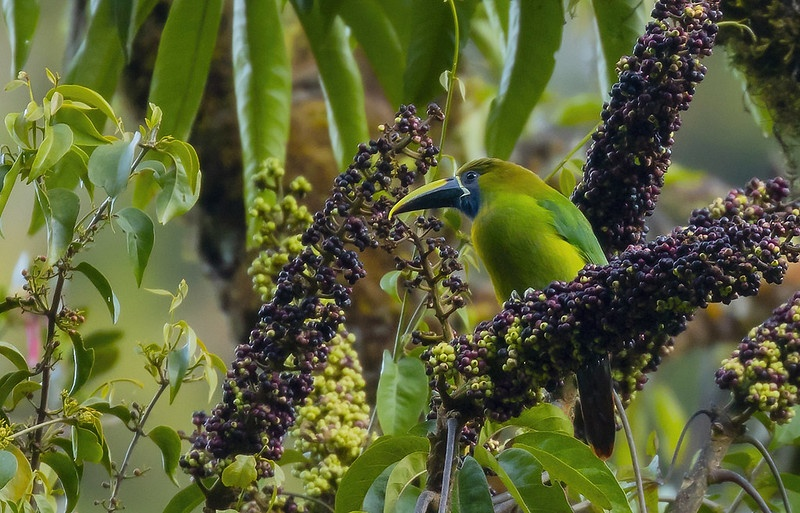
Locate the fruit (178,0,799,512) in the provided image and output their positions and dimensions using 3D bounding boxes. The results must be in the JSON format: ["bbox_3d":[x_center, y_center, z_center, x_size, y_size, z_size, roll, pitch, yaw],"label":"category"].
[{"bbox_3d":[0.444,-0.065,3.915,1.194,1.326,0.562,-7,-26,19],"label":"fruit"}]
